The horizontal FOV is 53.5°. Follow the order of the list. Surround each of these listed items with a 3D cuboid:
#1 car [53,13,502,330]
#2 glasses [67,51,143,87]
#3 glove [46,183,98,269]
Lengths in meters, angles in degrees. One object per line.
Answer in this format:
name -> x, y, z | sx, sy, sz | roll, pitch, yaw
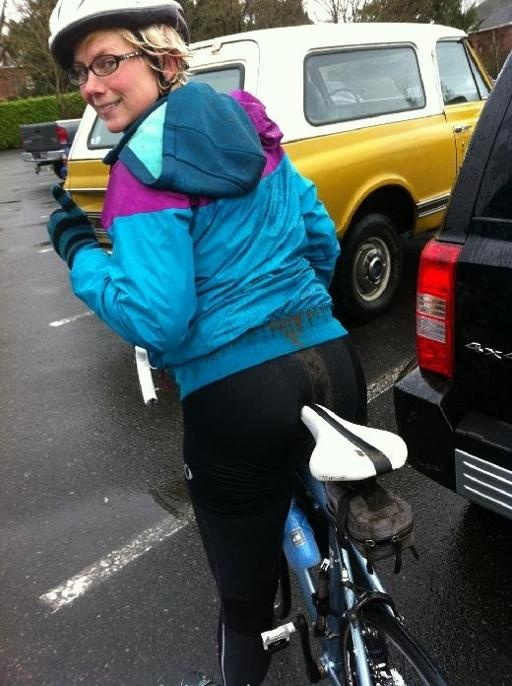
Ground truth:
car -> 0.739, -1.959, 5.279 | 4.290, 2.052, 2.423 | -30, 33, -33
glasses -> -0.305, -0.554, 1.036 | 0.105, 0.033, 0.109 | -4, 24, 43
glove -> -0.452, -0.274, 1.216 | 0.143, 0.066, 0.220 | -44, 41, 8
